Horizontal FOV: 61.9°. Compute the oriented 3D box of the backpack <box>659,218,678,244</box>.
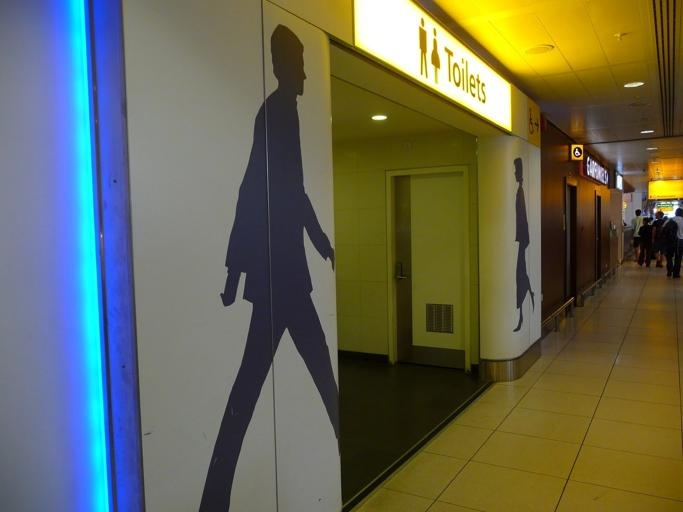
[{"bbox_3d":[7.933,-0.566,13.750,0.332,0.611,0.378,2,5,35],"label":"backpack"}]
